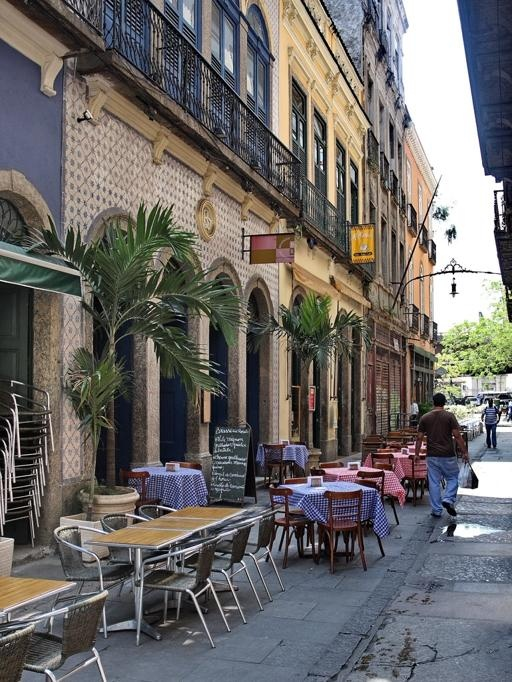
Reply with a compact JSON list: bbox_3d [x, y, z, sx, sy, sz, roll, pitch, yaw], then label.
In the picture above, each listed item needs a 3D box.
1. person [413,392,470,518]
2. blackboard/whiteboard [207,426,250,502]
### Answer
[{"bbox_3d":[2.513,1.541,9.273,0.557,1.901,0.572,2,20,27],"label":"person"},{"bbox_3d":[-0.423,1.941,10.471,0.646,1.661,0.459,-7,-23,25],"label":"blackboard/whiteboard"}]
